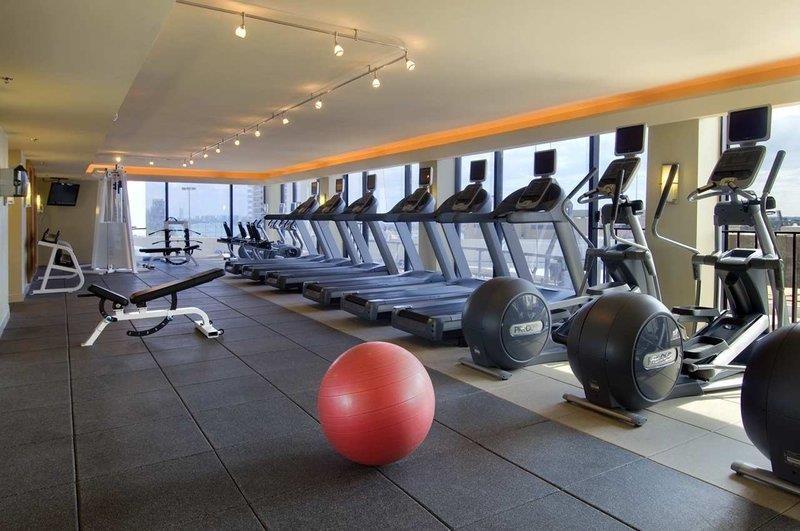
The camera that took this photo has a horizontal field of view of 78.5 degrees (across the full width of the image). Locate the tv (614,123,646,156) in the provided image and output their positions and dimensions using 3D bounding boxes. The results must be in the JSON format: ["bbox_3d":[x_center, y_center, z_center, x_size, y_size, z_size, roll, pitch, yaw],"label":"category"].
[{"bbox_3d":[2.532,-1.397,5.416,0.303,0.338,0.235,5,13,23],"label":"tv"}]

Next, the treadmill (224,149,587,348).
[{"bbox_3d":[0.345,-0.591,8.392,4.221,2.487,7.600,-7,12,-35],"label":"treadmill"}]

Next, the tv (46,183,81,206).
[{"bbox_3d":[-9.153,-1.939,13.204,0.681,0.697,0.102,11,5,-39],"label":"tv"}]

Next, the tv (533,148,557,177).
[{"bbox_3d":[1.756,-1.257,5.948,0.244,0.347,0.323,2,11,9],"label":"tv"}]

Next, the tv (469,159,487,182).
[{"bbox_3d":[1.057,-1.331,6.824,0.319,0.303,0.134,11,16,42],"label":"tv"}]
